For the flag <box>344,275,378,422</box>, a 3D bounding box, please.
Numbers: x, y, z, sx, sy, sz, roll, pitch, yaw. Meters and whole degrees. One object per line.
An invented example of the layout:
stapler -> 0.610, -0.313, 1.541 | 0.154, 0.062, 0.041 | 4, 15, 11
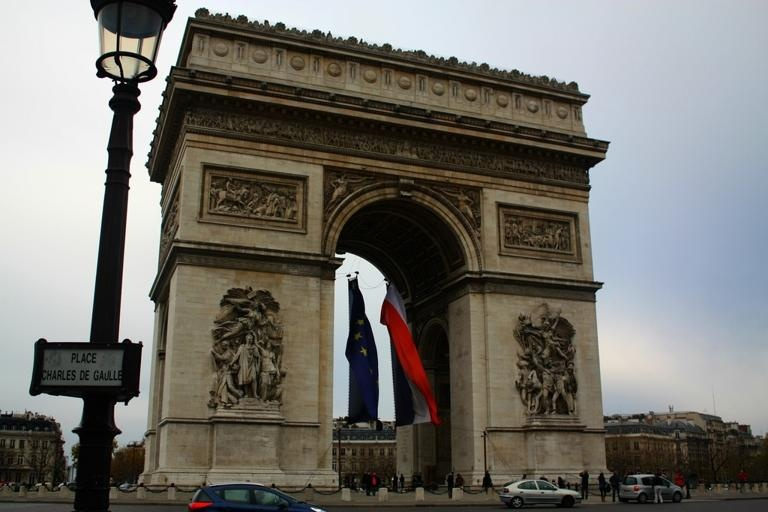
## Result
flag -> -1.288, 5.424, 52.129 | 1.724, 8.370, 1.764 | -1, -18, 0

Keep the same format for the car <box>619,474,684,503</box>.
car -> 14.673, 12.846, 49.369 | 2.689, 1.208, 1.716 | 0, -17, -6

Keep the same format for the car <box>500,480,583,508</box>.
car -> 7.995, 12.200, 46.070 | 3.437, 1.194, 1.782 | 1, -20, -8
